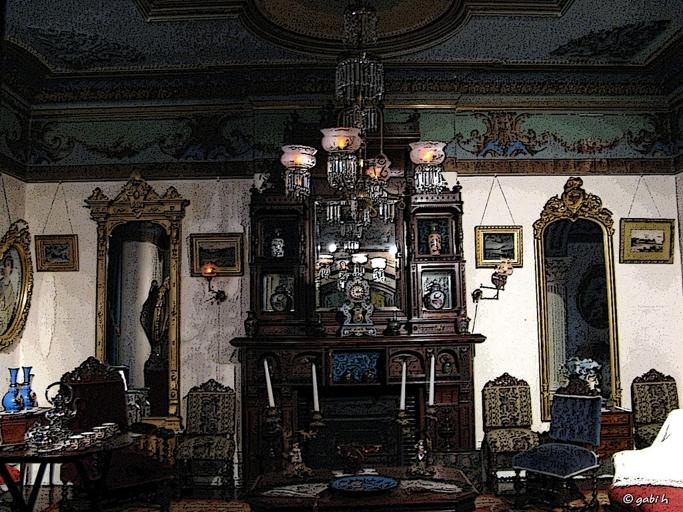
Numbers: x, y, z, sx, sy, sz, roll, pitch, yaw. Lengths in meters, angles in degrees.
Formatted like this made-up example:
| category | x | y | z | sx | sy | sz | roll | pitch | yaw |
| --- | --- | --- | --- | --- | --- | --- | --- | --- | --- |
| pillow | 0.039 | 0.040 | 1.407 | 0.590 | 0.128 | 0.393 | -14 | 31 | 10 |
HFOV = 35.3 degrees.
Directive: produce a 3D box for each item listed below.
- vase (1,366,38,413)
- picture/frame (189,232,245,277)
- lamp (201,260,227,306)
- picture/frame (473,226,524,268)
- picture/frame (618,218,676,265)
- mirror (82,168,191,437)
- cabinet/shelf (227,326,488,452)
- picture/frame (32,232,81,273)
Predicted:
| category | x | y | z | sx | sy | sz | roll | pitch | yaw |
| --- | --- | --- | --- | --- | --- | --- | --- | --- | --- |
| vase | -4.043 | 1.659 | 13.342 | 0.278 | 0.684 | 0.555 | -7 | -8 | 39 |
| picture/frame | -1.625 | -0.019 | 14.047 | 0.623 | 0.481 | 0.048 | -1 | -3 | 5 |
| lamp | -1.669 | 0.338 | 13.996 | 0.319 | 0.548 | 0.148 | 1 | -9 | -5 |
| picture/frame | 2.039 | -0.132 | 14.071 | 0.673 | 0.525 | 0.070 | 2 | -4 | 10 |
| picture/frame | 4.014 | -0.209 | 14.087 | 0.705 | 0.572 | 0.113 | 1 | -9 | -4 |
| mirror | -2.561 | 0.535 | 13.641 | 1.164 | 3.428 | 0.423 | 1 | -4 | -3 |
| cabinet/shelf | 0.172 | 1.612 | 13.505 | 3.013 | 1.589 | 0.505 | 0 | -9 | 2 |
| picture/frame | -3.781 | -0.049 | 14.158 | 0.570 | 0.481 | 0.122 | 0 | -9 | 5 |
